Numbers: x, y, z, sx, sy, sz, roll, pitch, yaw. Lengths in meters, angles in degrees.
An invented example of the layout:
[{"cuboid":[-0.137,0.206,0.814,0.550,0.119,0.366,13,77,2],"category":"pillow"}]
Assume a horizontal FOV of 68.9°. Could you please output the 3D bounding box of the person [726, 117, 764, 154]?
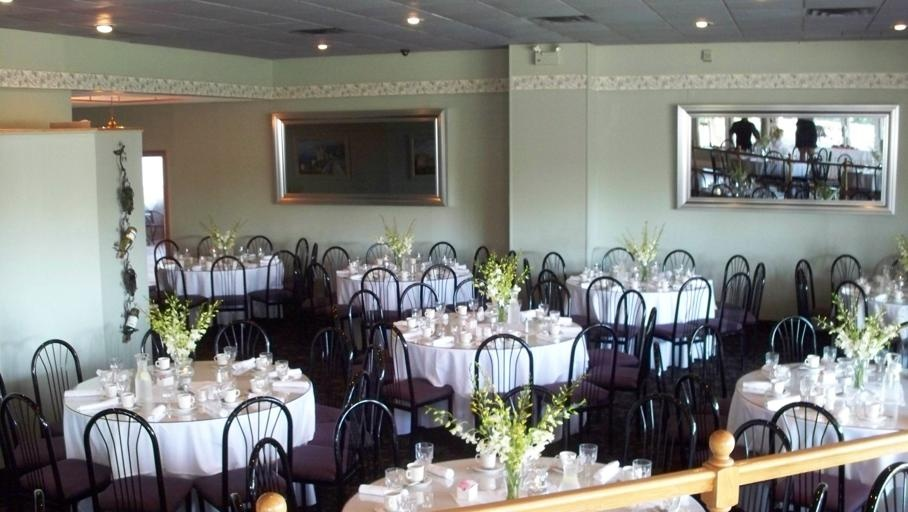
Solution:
[{"cuboid":[5.007,-1.945,11.423,0.511,1.048,0.340,9,15,34],"category":"person"}]
